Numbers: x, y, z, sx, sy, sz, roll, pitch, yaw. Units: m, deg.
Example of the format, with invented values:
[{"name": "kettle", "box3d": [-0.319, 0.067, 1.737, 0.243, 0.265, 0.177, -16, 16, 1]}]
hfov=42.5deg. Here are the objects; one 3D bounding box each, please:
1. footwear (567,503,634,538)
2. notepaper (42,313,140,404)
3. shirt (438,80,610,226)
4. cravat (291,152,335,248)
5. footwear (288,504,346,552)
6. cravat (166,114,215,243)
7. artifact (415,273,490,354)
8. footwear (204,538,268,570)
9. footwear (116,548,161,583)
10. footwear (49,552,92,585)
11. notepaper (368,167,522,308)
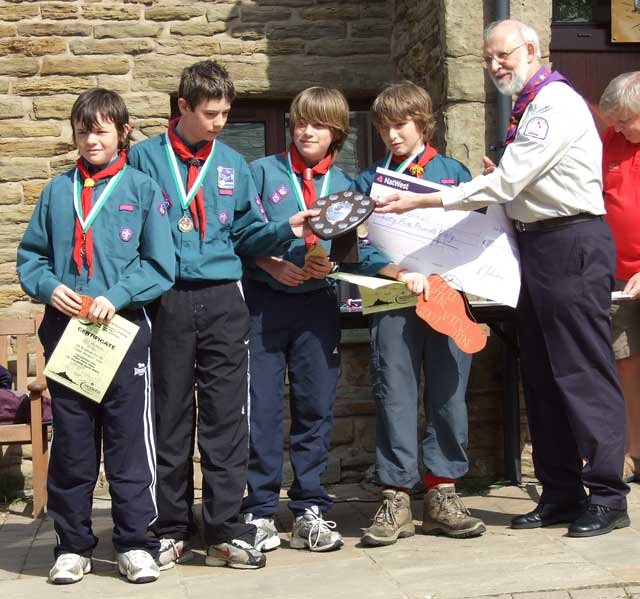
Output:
[{"name": "footwear", "box3d": [1.211, 0.974, 3.643, 0.336, 0.120, 0.107, 1, -9, -23]}, {"name": "notepaper", "box3d": [-0.886, 0.225, 3.170, 0.386, 0.320, 0.082, 24, -13, -1]}, {"name": "shirt", "box3d": [0.876, -0.641, 3.582, 0.661, 0.600, 0.281, -2, 0, 13]}, {"name": "cravat", "box3d": [-0.045, -0.489, 3.836, 0.290, 0.366, 0.104, -2, -5, -4]}, {"name": "footwear", "box3d": [0.000, 1.030, 3.676, 0.141, 0.137, 0.292, 7, -11, -43]}, {"name": "cravat", "box3d": [-0.533, -0.512, 3.403, 0.195, 0.464, 0.089, 2, -26, -25]}, {"name": "artifact", "box3d": [0.571, 0.073, 3.585, 0.425, 0.218, 0.061, 38, -15, 0]}, {"name": "footwear", "box3d": [-0.345, 1.067, 3.465, 0.273, 0.092, 0.103, -1, -4, 14]}, {"name": "footwear", "box3d": [-0.717, 1.055, 3.285, 0.159, 0.111, 0.151, -2, -1, -12]}, {"name": "footwear", "box3d": [-0.995, 1.064, 3.294, 0.171, 0.098, 0.171, -1, -1, -19]}, {"name": "notepaper", "box3d": [0.591, -0.318, 3.706, 0.760, 0.587, 0.502, 7, 12, 10]}]
